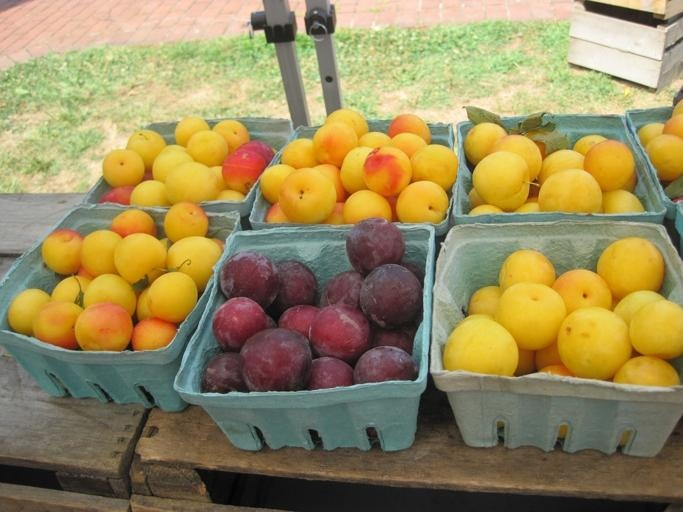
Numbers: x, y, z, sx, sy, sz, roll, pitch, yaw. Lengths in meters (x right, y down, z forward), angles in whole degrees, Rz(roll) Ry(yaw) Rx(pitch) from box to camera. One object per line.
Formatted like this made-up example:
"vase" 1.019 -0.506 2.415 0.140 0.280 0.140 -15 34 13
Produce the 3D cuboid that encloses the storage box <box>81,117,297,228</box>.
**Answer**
"storage box" -0.620 -0.347 2.497 0.762 0.210 0.778 1 46 5

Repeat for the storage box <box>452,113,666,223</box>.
"storage box" 0.779 -0.364 2.346 0.789 0.480 0.714 -2 22 2

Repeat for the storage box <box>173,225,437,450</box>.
"storage box" -0.073 0.257 1.974 0.757 0.366 0.695 0 44 9

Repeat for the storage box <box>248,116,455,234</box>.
"storage box" 0.089 -0.410 2.470 0.899 0.524 0.847 3 27 19
